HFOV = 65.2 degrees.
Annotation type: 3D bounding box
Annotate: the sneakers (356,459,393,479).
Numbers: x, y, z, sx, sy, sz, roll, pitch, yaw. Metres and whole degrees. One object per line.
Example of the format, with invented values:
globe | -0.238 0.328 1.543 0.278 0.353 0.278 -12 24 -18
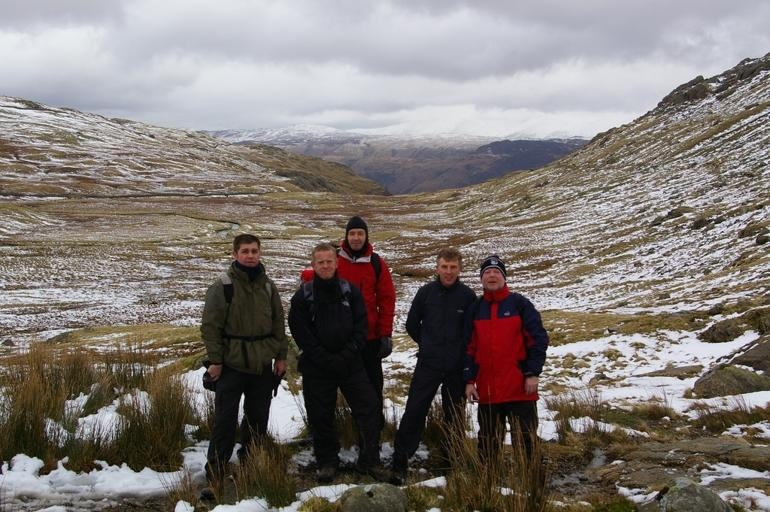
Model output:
sneakers | -0.267 4.759 13.404 0.673 0.253 0.309 0 -3 27
